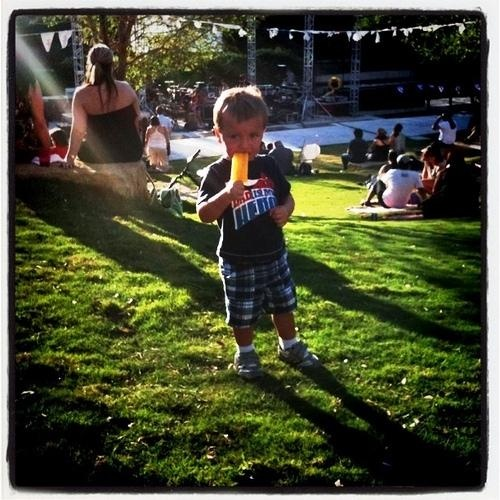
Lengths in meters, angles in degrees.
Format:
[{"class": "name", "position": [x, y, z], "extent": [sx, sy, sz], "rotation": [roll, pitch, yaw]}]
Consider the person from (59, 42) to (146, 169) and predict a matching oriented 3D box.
[{"class": "person", "position": [-1.730, -1.654, 5.533], "extent": [0.804, 1.571, 1.045], "rotation": [4, 26, -2]}]

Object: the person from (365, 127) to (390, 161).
[{"class": "person", "position": [3.822, -3.180, 13.890], "extent": [0.692, 0.928, 0.727], "rotation": [-7, 22, -5]}]

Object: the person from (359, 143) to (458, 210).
[{"class": "person", "position": [2.953, -1.401, 8.729], "extent": [1.088, 0.906, 1.629], "rotation": [1, 22, 15]}]

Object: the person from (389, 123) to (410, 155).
[{"class": "person", "position": [4.085, -2.991, 12.809], "extent": [0.383, 1.151, 0.373], "rotation": [-9, 47, 11]}]

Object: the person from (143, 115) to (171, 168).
[{"class": "person", "position": [-2.270, -2.610, 11.447], "extent": [0.555, 1.350, 0.544], "rotation": [-1, 9, -12]}]

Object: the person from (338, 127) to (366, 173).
[{"class": "person", "position": [3.186, -3.015, 14.056], "extent": [0.795, 1.354, 0.809], "rotation": [-1, 19, 5]}]

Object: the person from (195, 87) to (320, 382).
[{"class": "person", "position": [0.046, -0.063, 2.823], "extent": [0.477, 1.840, 0.734], "rotation": [8, 11, 40]}]
